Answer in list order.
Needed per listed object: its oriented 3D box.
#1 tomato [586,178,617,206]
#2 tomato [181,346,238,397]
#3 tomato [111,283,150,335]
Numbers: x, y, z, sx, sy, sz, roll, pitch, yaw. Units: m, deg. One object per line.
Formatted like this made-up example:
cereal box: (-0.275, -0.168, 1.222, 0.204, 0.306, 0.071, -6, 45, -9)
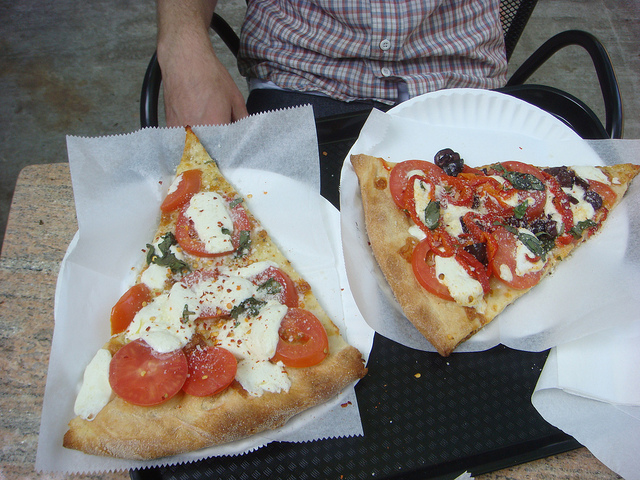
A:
tomato: (1.702, -0.298, 3.426, 0.106, 0.040, 0.176, -41, 82, -1)
tomato: (-0.580, 0.697, 2.984, 0.269, 0.074, 0.275, 9, 69, 3)
tomato: (-1.062, 0.352, 3.214, 0.258, 0.214, 0.282, -8, 30, -18)
